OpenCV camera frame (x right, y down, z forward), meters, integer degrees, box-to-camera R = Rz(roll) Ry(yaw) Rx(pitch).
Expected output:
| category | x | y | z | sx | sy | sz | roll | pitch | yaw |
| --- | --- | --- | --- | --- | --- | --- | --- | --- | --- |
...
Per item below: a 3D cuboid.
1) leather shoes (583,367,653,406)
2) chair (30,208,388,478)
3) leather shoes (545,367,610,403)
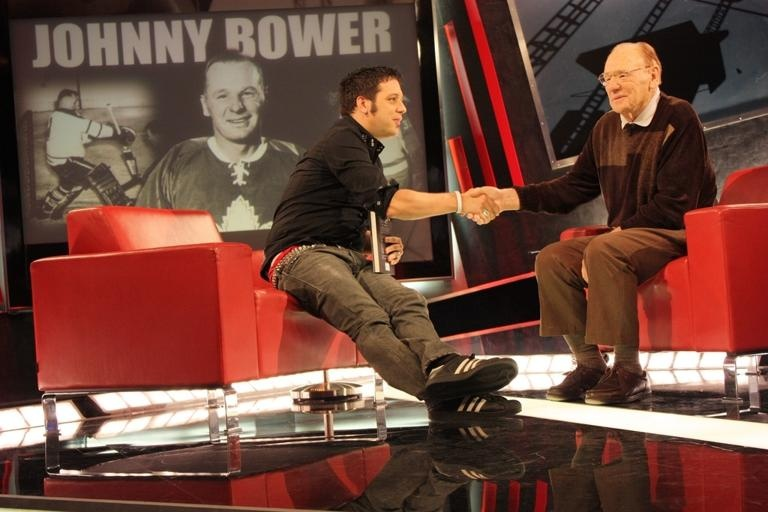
| category | x | y | z | sx | sy | sz | roll | pitch | yaw |
| --- | --- | --- | --- | --- | --- | --- | --- | --- | --- |
| leather shoes | 0.996 | 0.553 | 3.076 | 0.268 | 0.107 | 0.134 | -2 | -2 | -20 |
| chair | -0.719 | 0.311 | 3.470 | 1.036 | 1.074 | 1.396 | -6 | -2 | 26 |
| leather shoes | 0.860 | 0.570 | 3.223 | 0.347 | 0.115 | 0.109 | -8 | 4 | -27 |
